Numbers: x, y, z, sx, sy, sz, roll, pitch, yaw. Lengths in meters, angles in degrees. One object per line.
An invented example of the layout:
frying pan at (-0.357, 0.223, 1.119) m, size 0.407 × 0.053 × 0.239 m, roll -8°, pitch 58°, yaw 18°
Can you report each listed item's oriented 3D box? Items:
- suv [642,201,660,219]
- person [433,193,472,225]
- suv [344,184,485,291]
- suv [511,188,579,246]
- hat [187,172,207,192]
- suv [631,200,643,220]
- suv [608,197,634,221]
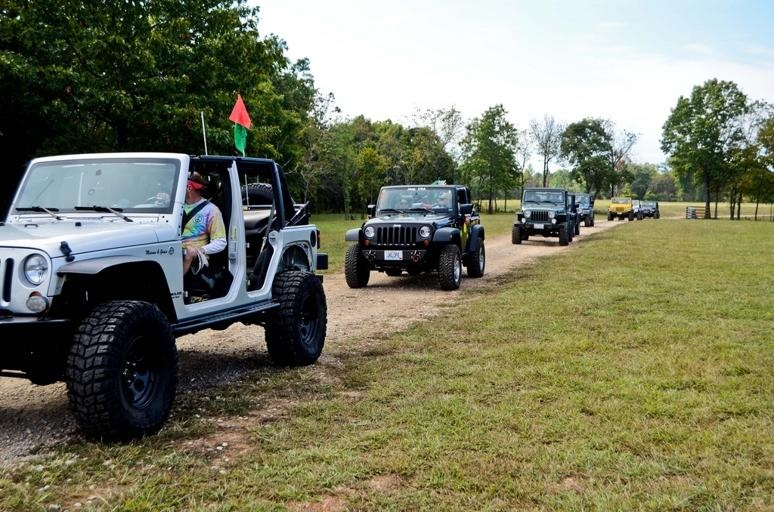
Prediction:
suv at (25.345, -4.562, 61.018) m, size 1.707 × 1.670 × 3.143 m, roll 0°, pitch 1°, yaw 29°
person at (1.685, -1.271, 15.962) m, size 0.694 × 0.630 × 1.013 m, roll 2°, pitch 0°, yaw 19°
suv at (1.088, -0.551, 16.131) m, size 1.983 × 1.852 × 3.592 m, roll -1°, pitch -1°, yaw 19°
suv at (7.030, -1.888, 27.835) m, size 1.912 × 1.713 × 3.366 m, roll 1°, pitch 3°, yaw 20°
hat at (-2.410, -0.924, 8.013) m, size 0.216 × 0.073 × 0.147 m, roll 14°, pitch 42°, yaw -17°
suv at (22.219, -4.019, 56.158) m, size 1.341 × 1.373 × 2.427 m, roll -1°, pitch -2°, yaw 22°
suv at (19.690, -3.987, 53.278) m, size 1.688 × 1.640 × 3.099 m, roll -1°, pitch -2°, yaw 22°
